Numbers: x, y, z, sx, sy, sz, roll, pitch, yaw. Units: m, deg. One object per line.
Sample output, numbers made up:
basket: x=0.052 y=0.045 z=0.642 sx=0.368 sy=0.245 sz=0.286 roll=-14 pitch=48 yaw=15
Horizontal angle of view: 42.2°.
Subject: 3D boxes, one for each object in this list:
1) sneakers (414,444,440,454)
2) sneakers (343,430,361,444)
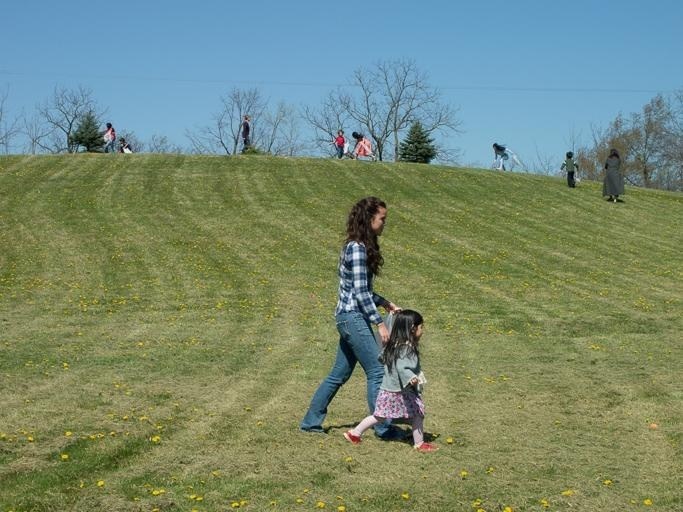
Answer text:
sneakers: x=1.294 y=2.816 z=13.060 sx=0.319 sy=0.140 sz=0.132 roll=-7 pitch=9 yaw=3
sneakers: x=0.180 y=2.691 z=13.195 sx=0.139 sy=0.321 sz=0.109 roll=-28 pitch=33 yaw=8
